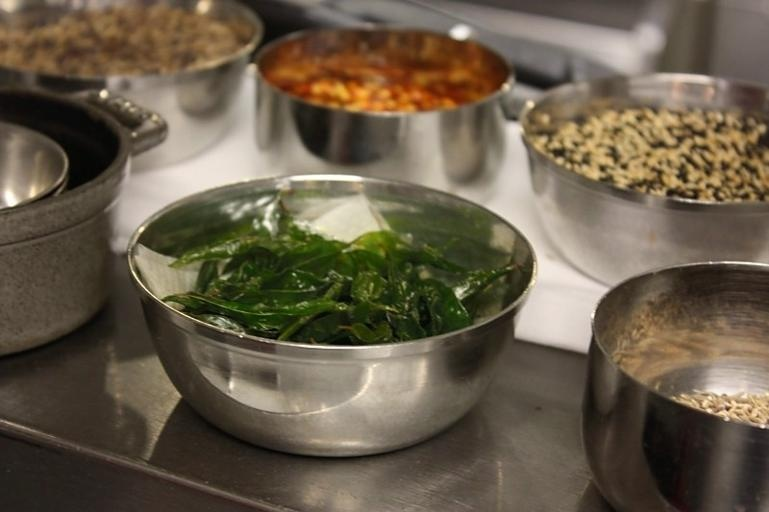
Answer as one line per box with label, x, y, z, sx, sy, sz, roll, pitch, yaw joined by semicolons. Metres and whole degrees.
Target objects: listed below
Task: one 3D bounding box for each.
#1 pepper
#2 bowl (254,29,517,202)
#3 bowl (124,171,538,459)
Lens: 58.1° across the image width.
pepper;-0.052;0.041;0.848;0.286;0.077;0.219;5;5;-11
bowl;-0.064;-0.272;1.148;0.323;0.176;0.313;4;53;-5
bowl;-0.078;0.043;0.875;0.468;0.162;0.453;3;26;-1
